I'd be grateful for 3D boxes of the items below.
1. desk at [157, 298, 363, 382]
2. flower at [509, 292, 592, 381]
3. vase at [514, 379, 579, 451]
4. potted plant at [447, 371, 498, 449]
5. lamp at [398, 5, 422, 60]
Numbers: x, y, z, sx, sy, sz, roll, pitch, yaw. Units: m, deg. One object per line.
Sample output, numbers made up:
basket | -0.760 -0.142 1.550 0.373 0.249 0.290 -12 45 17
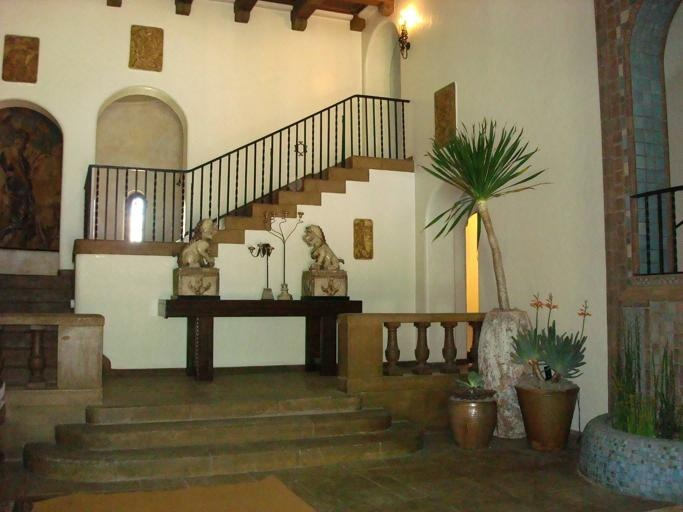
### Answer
desk | -1.066 1.118 8.256 2.657 1.048 0.866 1 2 -16
flower | 2.209 0.902 6.257 0.704 1.004 0.792 14 -3 -1
vase | 2.153 1.647 6.214 0.643 0.693 0.688 -3 5 24
potted plant | 1.401 1.625 6.269 0.454 0.726 0.428 4 -12 -32
lamp | 1.121 -3.830 10.033 0.236 0.892 0.647 -2 11 -17
